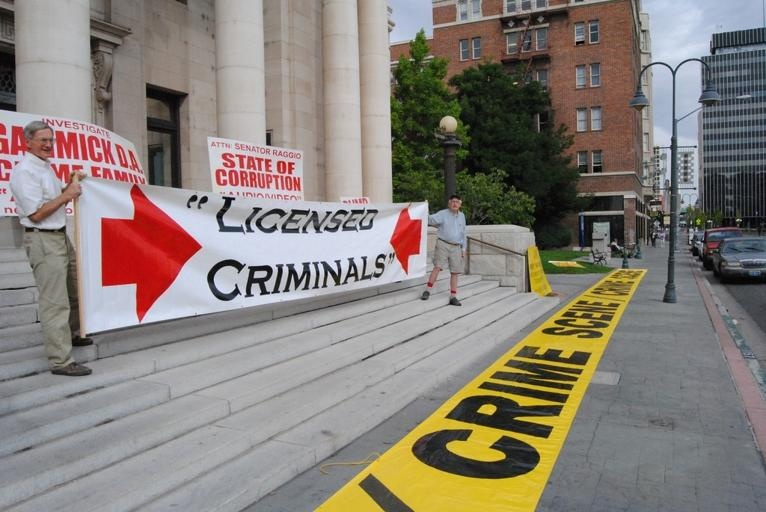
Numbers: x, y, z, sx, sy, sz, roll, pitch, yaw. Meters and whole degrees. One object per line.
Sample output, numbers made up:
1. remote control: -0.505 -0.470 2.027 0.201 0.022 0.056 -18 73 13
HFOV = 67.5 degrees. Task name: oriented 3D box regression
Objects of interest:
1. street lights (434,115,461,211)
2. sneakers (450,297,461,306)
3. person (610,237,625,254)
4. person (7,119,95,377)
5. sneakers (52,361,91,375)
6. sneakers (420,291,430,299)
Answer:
1. street lights: 1.922 -2.523 16.809 0.730 2.900 0.801 -1 7 9
2. sneakers: 1.487 0.953 11.822 0.244 0.208 0.184 3 13 12
3. person: 14.898 -0.605 36.430 0.724 0.694 1.216 0 -36 19
4. person: -3.948 -0.088 6.911 0.686 2.972 1.000 -9 16 -32
5. sneakers: -3.704 1.373 6.902 0.438 0.164 0.180 2 1 -4
6. sneakers: 0.851 0.809 11.706 0.175 0.193 0.209 0 13 0
